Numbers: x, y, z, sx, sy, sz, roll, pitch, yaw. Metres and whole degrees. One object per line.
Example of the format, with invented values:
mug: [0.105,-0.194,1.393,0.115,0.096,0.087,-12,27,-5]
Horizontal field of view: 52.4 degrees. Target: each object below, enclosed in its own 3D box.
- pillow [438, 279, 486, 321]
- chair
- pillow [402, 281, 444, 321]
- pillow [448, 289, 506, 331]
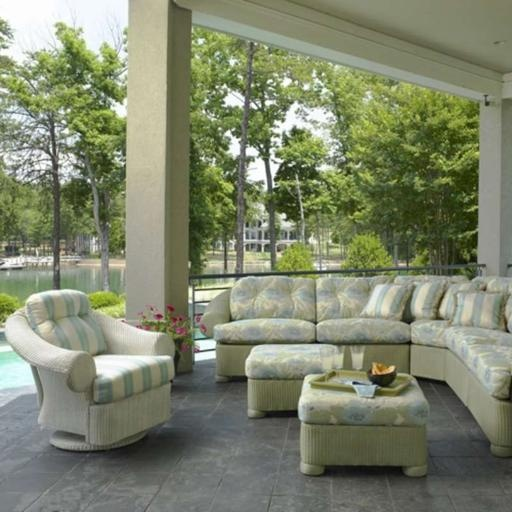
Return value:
pillow: [1.575,0.326,4.032,0.093,0.311,0.310,25,-21,-25]
chair: [-0.846,0.616,2.920,0.787,0.860,0.874,-2,-3,29]
pillow: [1.346,0.332,4.135,0.099,0.309,0.306,28,-21,-34]
pillow: [1.626,0.398,3.788,0.355,0.233,0.256,0,4,24]
